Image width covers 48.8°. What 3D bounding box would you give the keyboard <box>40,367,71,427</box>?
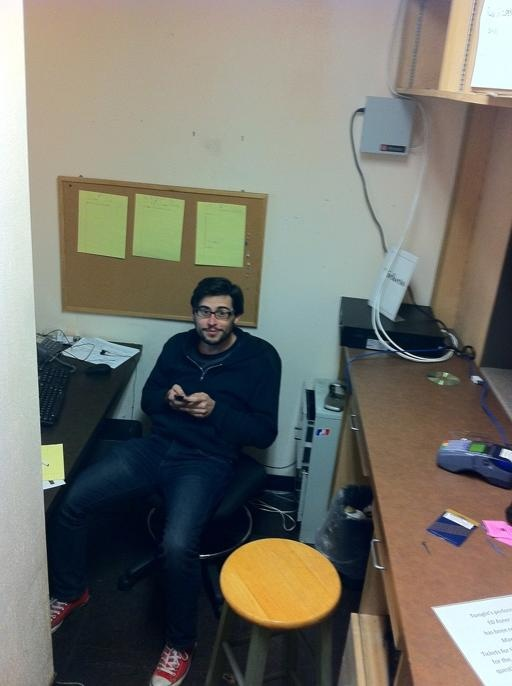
[{"bbox_3d":[-0.699,0.179,1.916,0.084,0.254,0.021,11,30,-16],"label":"keyboard"}]

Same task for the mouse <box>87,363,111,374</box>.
[{"bbox_3d":[-0.585,0.099,2.114,0.044,0.019,0.059,4,10,-7],"label":"mouse"}]

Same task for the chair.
[{"bbox_3d":[-0.186,0.664,2.080,0.497,0.489,0.516,10,49,24],"label":"chair"}]
